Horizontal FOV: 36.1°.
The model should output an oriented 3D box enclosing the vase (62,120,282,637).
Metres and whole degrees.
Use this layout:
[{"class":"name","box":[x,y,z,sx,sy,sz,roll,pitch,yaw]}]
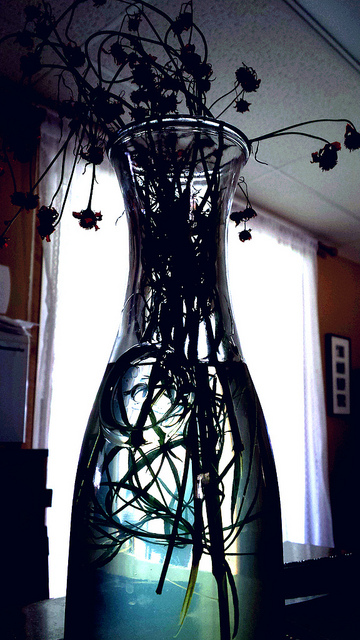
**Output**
[{"class":"vase","box":[0.003,0.027,0.345,0.126,0.312,0.068,5,-14,-12]}]
